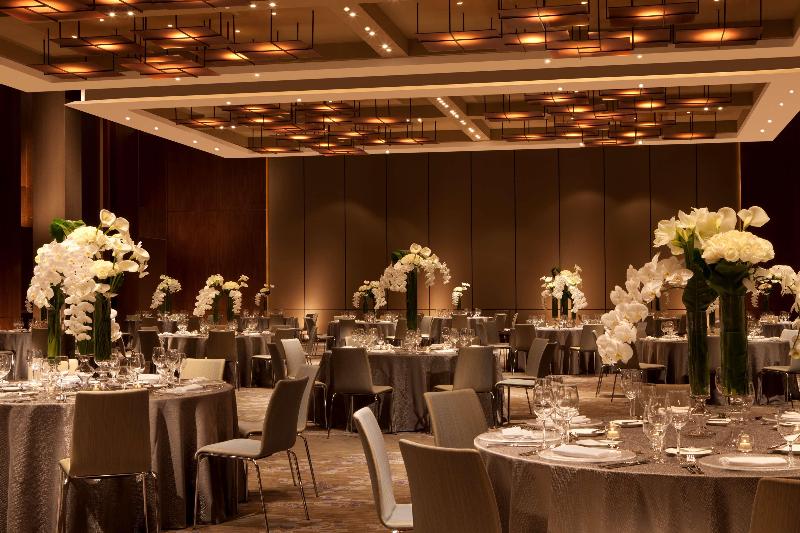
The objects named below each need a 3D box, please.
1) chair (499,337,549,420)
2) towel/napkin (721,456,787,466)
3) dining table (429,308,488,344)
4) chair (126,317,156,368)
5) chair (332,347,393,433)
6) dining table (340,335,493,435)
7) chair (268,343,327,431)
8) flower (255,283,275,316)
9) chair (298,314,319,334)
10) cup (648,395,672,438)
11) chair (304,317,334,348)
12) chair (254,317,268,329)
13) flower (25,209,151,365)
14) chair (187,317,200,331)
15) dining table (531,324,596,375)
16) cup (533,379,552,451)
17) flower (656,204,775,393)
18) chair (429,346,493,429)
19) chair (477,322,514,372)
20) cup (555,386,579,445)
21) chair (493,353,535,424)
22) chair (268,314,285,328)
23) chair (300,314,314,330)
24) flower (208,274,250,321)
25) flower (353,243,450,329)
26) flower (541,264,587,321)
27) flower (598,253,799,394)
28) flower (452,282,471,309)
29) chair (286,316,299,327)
[{"bbox_3d":[1.461,1.414,8.834,0.729,1.064,0.692,6,6,20],"label":"chair"},{"bbox_3d":[1.883,1.030,3.743,0.316,0.039,0.214,-4,-8,27],"label":"towel/napkin"},{"bbox_3d":[1.021,1.254,14.739,0.912,0.630,0.959,-6,7,8],"label":"dining table"},{"bbox_3d":[-3.636,1.037,9.857,0.552,0.811,0.472,2,2,-26],"label":"chair"},{"bbox_3d":[-0.493,1.461,8.558,0.620,1.116,0.731,3,5,28],"label":"chair"},{"bbox_3d":[-0.017,1.499,9.109,1.170,0.835,1.274,0,-17,-6],"label":"dining table"},{"bbox_3d":[-1.180,1.547,8.914,0.464,0.729,0.502,-15,-8,-12],"label":"chair"},{"bbox_3d":[-3.698,0.871,18.908,0.565,0.992,2.661,0,-7,-11],"label":"flower"},{"bbox_3d":[-2.300,1.431,17.635,0.394,0.519,0.462,-4,-14,22],"label":"chair"},{"bbox_3d":[1.371,0.782,3.736,0.133,0.212,0.083,-1,-5,4],"label":"cup"},{"bbox_3d":[-1.879,1.573,16.278,0.541,0.817,0.460,-2,3,-23],"label":"chair"},{"bbox_3d":[-2.956,1.177,14.808,0.276,0.316,0.278,2,-4,-8],"label":"chair"},{"bbox_3d":[-2.555,0.144,5.695,0.810,1.211,0.755,2,-6,-30],"label":"flower"},{"bbox_3d":[-3.785,1.054,12.867,0.215,0.270,0.224,-7,-11,35],"label":"chair"},{"bbox_3d":[3.319,1.568,13.243,1.195,1.045,1.330,0,-5,-1],"label":"dining table"},{"bbox_3d":[0.828,0.859,4.121,0.123,0.472,0.119,-5,16,1],"label":"cup"},{"bbox_3d":[1.956,0.273,4.234,0.529,0.955,0.584,-2,2,-4],"label":"flower"},{"bbox_3d":[0.788,1.447,8.450,0.587,0.931,0.627,0,0,-8],"label":"chair"},{"bbox_3d":[1.760,1.490,13.268,0.577,0.927,0.590,-7,-9,-4],"label":"chair"},{"bbox_3d":[0.969,0.880,4.116,0.147,0.438,0.154,-6,14,2],"label":"cup"},{"bbox_3d":[1.490,1.541,9.002,0.523,0.838,0.469,0,-1,13],"label":"chair"},{"bbox_3d":[-2.679,1.164,15.076,0.203,0.290,0.227,2,-6,-17],"label":"chair"},{"bbox_3d":[-2.309,1.353,17.301,0.288,0.372,0.306,-10,-15,41],"label":"chair"},{"bbox_3d":[-3.749,0.628,15.294,1.055,1.179,1.067,2,-7,-38],"label":"flower"},{"bbox_3d":[0.052,0.188,9.487,1.012,1.053,0.933,-5,1,-20],"label":"flower"},{"bbox_3d":[3.232,0.587,13.575,0.593,0.766,0.574,-7,4,40],"label":"flower"},{"bbox_3d":[1.755,0.191,4.183,1.242,0.593,1.017,0,-2,4],"label":"flower"},{"bbox_3d":[1.560,0.720,18.243,0.452,0.761,1.617,-1,-6,6],"label":"flower"},{"bbox_3d":[-2.695,1.314,17.403,0.379,0.324,0.408,0,-9,-3],"label":"chair"}]
